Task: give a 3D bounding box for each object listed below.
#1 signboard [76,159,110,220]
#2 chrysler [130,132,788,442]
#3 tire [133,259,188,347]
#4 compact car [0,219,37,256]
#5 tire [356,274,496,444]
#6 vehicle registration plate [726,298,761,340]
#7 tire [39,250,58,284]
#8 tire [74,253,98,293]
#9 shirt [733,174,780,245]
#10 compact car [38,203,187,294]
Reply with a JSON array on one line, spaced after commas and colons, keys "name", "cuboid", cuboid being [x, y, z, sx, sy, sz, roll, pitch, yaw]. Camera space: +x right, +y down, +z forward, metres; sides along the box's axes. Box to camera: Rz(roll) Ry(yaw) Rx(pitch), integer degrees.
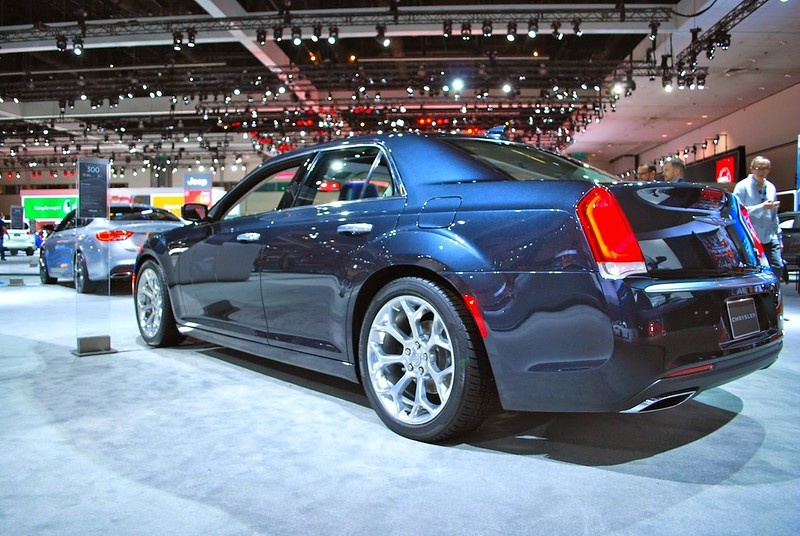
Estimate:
[{"name": "signboard", "cuboid": [-3.297, -0.844, 5.279, 0.052, 0.641, 0.364, 9, 9, 20]}, {"name": "chrysler", "cuboid": [-0.069, 0.046, 3.504, 4.062, 1.203, 1.938, 7, 4, 45]}, {"name": "tire", "cuboid": [-2.271, 0.329, 4.698, 0.842, 0.810, 0.281, 6, 7, 42]}, {"name": "compact car", "cuboid": [-17.618, -1.388, 22.879, 1.473, 1.285, 3.105, -3, 9, -33]}, {"name": "tire", "cuboid": [0.158, 0.543, 2.946, 0.339, 0.971, 1.007, 1, -3, -37]}, {"name": "vehicle registration plate", "cuboid": [1.785, 0.272, 2.568, 0.287, 0.187, 0.021, -4, -10, -33]}, {"name": "tire", "cuboid": [-7.559, -0.029, 10.585, 0.260, 0.725, 0.748, 3, -3, -24]}, {"name": "tire", "cuboid": [-5.620, 0.074, 8.806, 0.240, 0.667, 0.689, 6, -9, -30]}, {"name": "shirt", "cuboid": [4.336, -0.645, 5.925, 0.420, 0.521, 0.177, 2, 3, 11]}, {"name": "compact car", "cuboid": [-6.052, -0.494, 10.432, 4.766, 1.491, 2.057, 2, 8, 43]}]
